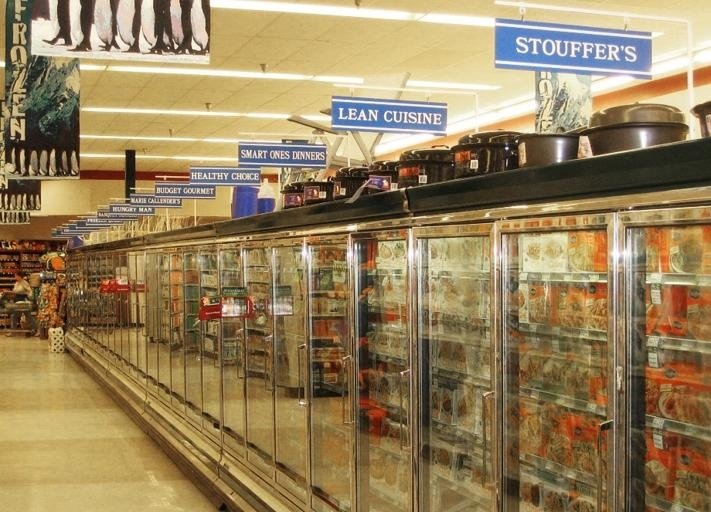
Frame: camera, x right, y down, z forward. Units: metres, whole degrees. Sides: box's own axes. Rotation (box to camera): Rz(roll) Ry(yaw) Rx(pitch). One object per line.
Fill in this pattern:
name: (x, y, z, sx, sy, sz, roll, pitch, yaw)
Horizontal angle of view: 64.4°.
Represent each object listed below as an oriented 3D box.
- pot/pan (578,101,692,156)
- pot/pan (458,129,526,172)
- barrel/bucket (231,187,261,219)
pot/pan: (1.173, -0.548, 2.403, 0.419, 0.244, 0.256, 1, -2, 28)
pot/pan: (0.701, -0.525, 2.934, 0.266, 0.158, 0.260, 0, -1, -14)
barrel/bucket: (-1.202, -0.572, 6.242, 0.347, 0.366, 0.343, 1, -2, 0)
